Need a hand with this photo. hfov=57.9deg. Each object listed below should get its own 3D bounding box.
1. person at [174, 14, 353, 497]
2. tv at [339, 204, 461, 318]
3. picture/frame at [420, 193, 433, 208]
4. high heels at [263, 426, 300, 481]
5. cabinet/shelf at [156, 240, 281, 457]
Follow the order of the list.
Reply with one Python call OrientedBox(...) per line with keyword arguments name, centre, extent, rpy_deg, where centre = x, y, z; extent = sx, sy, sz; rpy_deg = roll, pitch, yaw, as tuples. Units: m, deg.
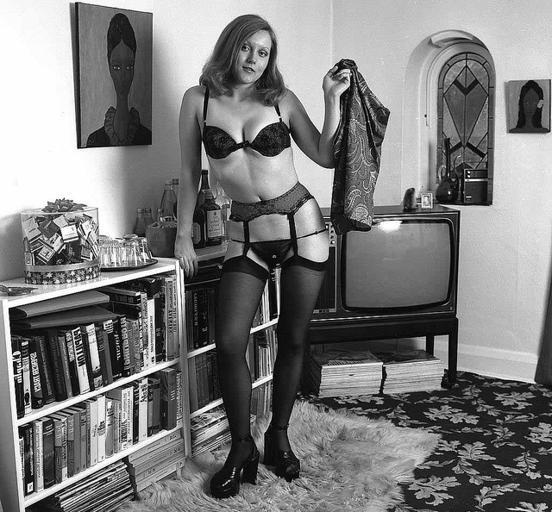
OrientedBox(name="person", centre=(-0.067, -0.005, 1.853), extent=(0.639, 1.677, 0.396), rpy_deg=(0, 6, -1))
OrientedBox(name="tv", centre=(0.653, 0.036, 2.798), extent=(0.760, 0.719, 0.462), rpy_deg=(-4, 8, -7))
OrientedBox(name="picture/frame", centre=(0.857, -0.310, 2.829), extent=(0.055, 0.096, 0.029), rpy_deg=(1, -1, 2))
OrientedBox(name="high heels", centre=(0.005, 0.732, 1.908), extent=(0.079, 0.114, 0.254), rpy_deg=(-4, 12, -22))
OrientedBox(name="cabinet/shelf", centre=(-0.241, 0.354, 1.905), extent=(0.220, 0.790, 0.728), rpy_deg=(2, 7, 27))
